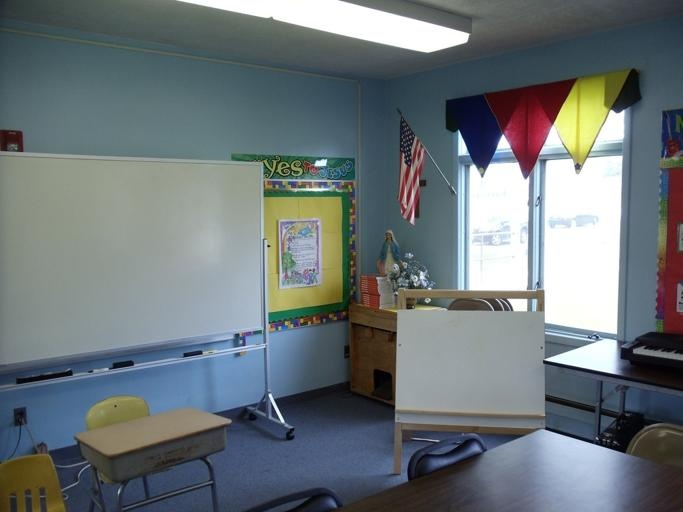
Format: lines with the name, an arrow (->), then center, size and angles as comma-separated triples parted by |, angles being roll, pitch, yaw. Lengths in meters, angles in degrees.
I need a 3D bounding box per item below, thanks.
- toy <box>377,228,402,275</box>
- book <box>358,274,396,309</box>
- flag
toy -> 0.499, -0.011, 5.406 | 0.226, 0.469, 0.291 | -1, 11, -4
book -> 0.358, 0.473, 5.427 | 0.276, 0.386, 0.484 | -3, 7, -24
flag -> 0.748, -0.894, 5.494 | 0.274, 1.171, 0.509 | 1, 11, 6
